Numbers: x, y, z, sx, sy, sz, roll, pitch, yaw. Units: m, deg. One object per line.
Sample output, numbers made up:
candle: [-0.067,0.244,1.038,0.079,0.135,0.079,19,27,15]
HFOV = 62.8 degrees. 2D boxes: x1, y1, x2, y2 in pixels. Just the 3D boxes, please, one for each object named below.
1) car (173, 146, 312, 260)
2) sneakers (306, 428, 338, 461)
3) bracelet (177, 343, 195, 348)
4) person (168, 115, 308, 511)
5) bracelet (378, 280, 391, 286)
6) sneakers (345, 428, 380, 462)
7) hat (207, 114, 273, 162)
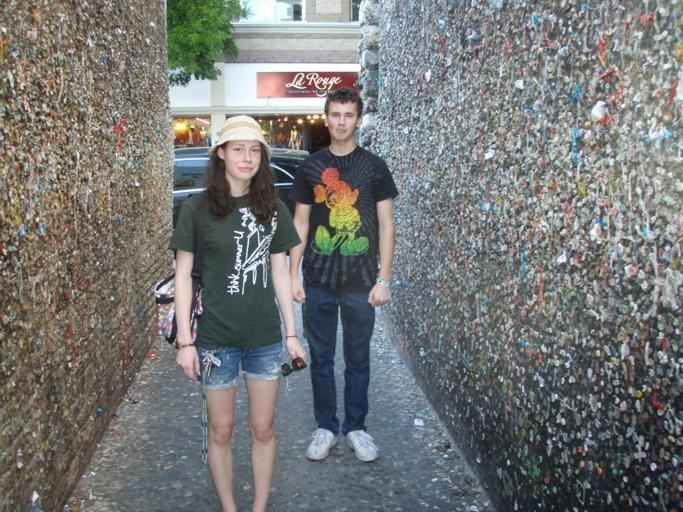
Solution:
car: [-1.657,-1.003,8.823,2.336,1.193,1.245,4,8,-3]
sneakers: [-0.130,1.218,3.667,0.171,0.125,0.288,2,10,5]
bracelet: [-0.761,0.438,2.750,0.074,0.027,0.029,0,10,-5]
person: [-0.508,0.338,2.899,0.672,2.099,0.459,-2,10,-18]
bracelet: [0.279,0.172,3.720,0.087,0.051,0.067,0,10,-8]
sneakers: [0.140,1.226,3.633,0.208,0.132,0.232,1,10,0]
hat: [-0.529,-0.649,2.955,0.269,0.198,0.342,-8,4,3]
